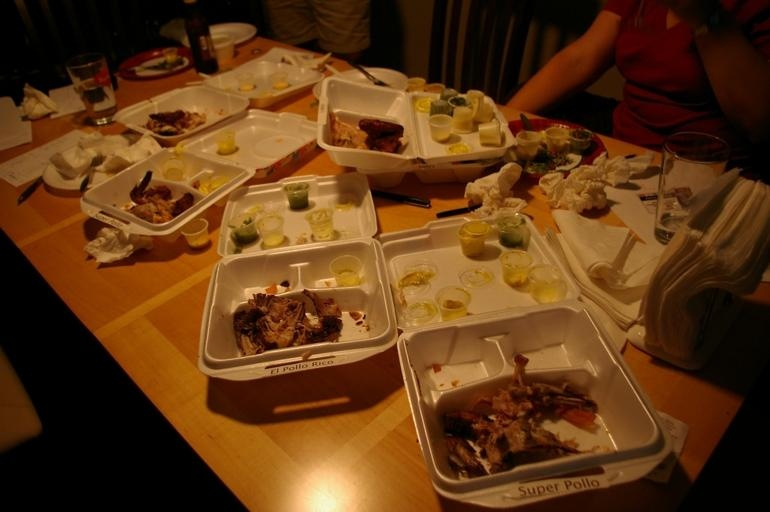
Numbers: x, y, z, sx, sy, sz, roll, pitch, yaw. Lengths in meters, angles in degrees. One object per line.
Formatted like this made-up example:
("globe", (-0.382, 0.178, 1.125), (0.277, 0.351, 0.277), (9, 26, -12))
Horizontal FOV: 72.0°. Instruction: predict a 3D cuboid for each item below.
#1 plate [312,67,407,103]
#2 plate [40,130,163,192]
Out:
("plate", (-0.100, -1.381, 4.047), (0.454, 0.066, 0.450), (6, 42, 2))
("plate", (-1.849, -0.579, 3.499), (0.503, 0.159, 0.507), (-23, 36, -10))
